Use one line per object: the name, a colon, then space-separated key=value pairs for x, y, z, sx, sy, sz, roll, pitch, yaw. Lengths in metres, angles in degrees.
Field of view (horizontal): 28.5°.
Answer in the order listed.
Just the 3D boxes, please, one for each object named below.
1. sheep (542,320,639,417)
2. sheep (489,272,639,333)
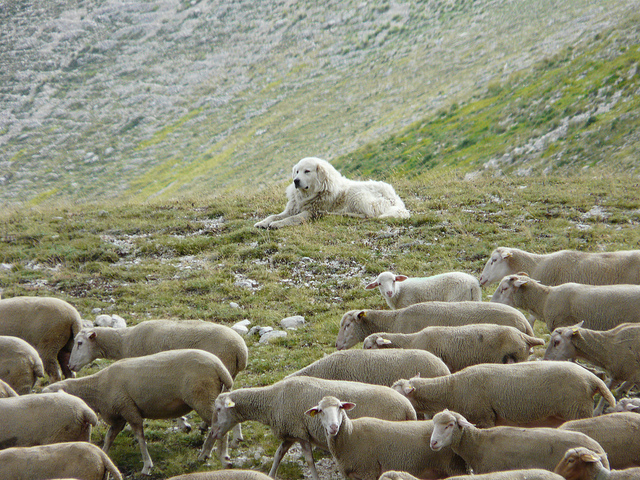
sheep: x=10.783 y=4.987 z=49.238 sx=3.163 sy=3.679 sz=3.401 roll=-11 pitch=12 yaw=-33
sheep: x=9.956 y=2.486 z=50.873 sx=6.602 sy=3.287 sz=2.252 roll=0 pitch=-2 yaw=16
